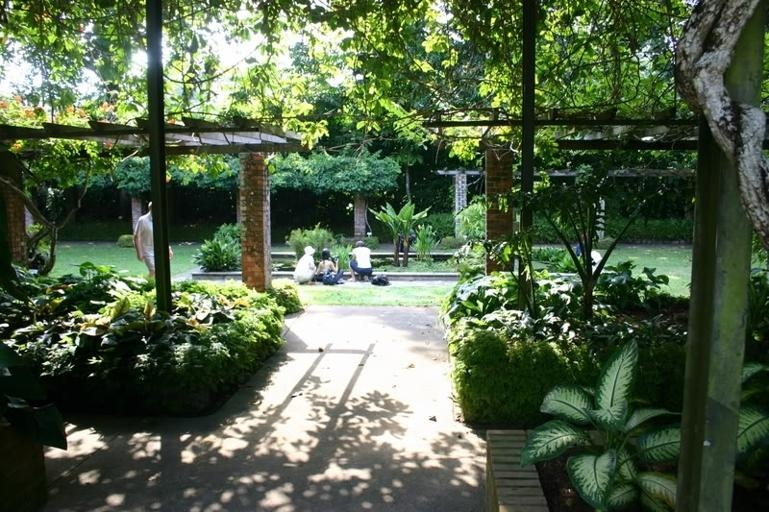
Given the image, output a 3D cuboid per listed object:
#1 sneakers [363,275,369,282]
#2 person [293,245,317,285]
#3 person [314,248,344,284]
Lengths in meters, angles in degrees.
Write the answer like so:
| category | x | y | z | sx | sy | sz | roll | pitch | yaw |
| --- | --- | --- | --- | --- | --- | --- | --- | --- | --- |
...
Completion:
| category | x | y | z | sx | sy | sz | roll | pitch | yaw |
| --- | --- | --- | --- | --- | --- | --- | --- | --- | --- |
| sneakers | -0.379 | 0.474 | 12.267 | 0.097 | 0.169 | 0.098 | -1 | -1 | 8 |
| person | -1.561 | 0.165 | 11.580 | 0.410 | 0.754 | 0.802 | -2 | 14 | -7 |
| person | -1.150 | 0.213 | 12.443 | 0.592 | 0.738 | 0.518 | 13 | 18 | 39 |
